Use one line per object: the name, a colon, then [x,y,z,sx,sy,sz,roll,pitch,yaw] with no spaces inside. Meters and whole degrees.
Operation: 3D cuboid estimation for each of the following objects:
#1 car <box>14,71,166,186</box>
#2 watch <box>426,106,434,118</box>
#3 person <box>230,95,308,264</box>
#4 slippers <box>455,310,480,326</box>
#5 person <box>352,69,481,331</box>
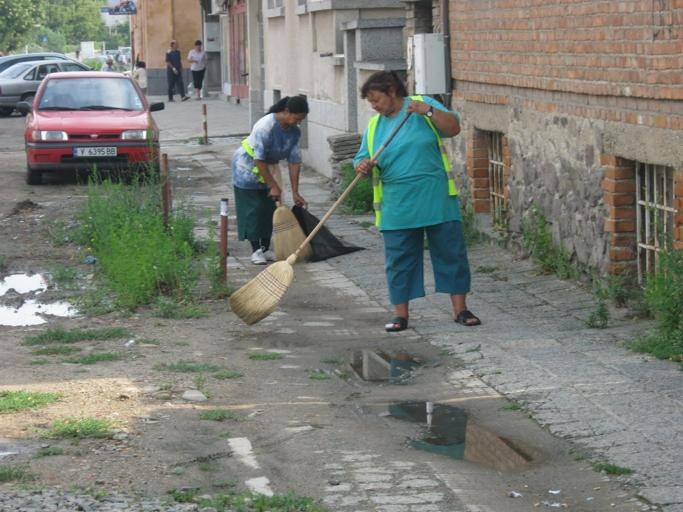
car: [-4.085,-2.121,17.343,2.460,1.627,5.253,-4,10,-21]
watch: [0.755,-1.221,9.138,0.090,0.079,0.057,6,0,7]
person: [-0.679,-0.815,12.067,1.065,1.729,0.875,1,2,20]
slippers: [1.100,0.542,9.491,0.113,0.070,0.197,-3,1,-26]
person: [0.615,-0.512,9.363,1.083,2.138,0.739,-5,1,9]
